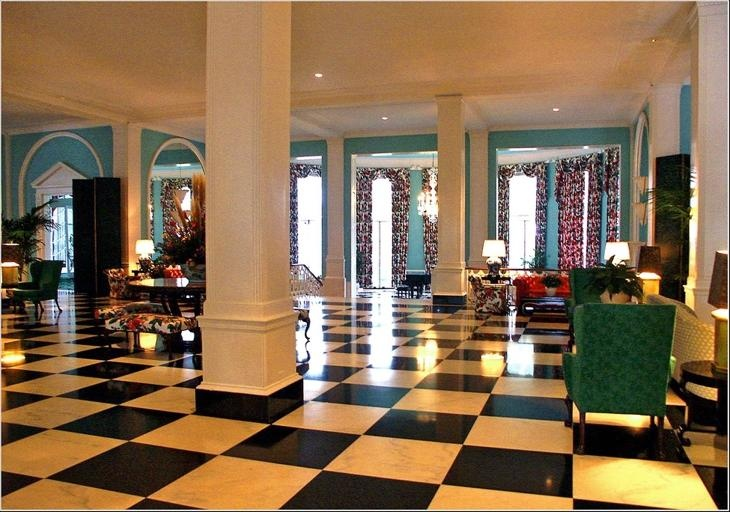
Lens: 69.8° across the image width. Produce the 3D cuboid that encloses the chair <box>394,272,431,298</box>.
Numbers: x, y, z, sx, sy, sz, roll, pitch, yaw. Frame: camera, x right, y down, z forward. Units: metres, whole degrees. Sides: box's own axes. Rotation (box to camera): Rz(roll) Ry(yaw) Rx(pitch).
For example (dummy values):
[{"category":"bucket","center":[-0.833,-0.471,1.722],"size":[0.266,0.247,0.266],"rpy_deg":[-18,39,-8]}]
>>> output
[{"category":"chair","center":[1.698,0.984,17.825],"size":[0.949,0.780,1.368],"rpy_deg":[3,3,15]}]

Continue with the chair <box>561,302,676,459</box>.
[{"category":"chair","center":[2.529,1.180,4.686],"size":[0.885,1.266,1.058],"rpy_deg":[27,-22,-31]}]

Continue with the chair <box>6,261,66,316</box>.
[{"category":"chair","center":[-7.037,0.646,11.198],"size":[1.014,1.097,0.701],"rpy_deg":[2,7,25]}]

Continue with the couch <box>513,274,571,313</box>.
[{"category":"couch","center":[4.043,0.789,11.547],"size":[1.380,0.617,0.677],"rpy_deg":[3,13,22]}]

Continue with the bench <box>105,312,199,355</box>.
[{"category":"bench","center":[-3.102,1.130,7.629],"size":[0.932,0.320,0.748],"rpy_deg":[2,6,7]}]

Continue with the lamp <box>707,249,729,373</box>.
[{"category":"lamp","center":[2.996,0.461,4.406],"size":[0.149,1.006,0.562],"rpy_deg":[3,8,31]}]

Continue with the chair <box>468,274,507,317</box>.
[{"category":"chair","center":[2.667,0.861,11.140],"size":[0.913,0.703,0.718],"rpy_deg":[-1,0,8]}]

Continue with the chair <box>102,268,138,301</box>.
[{"category":"chair","center":[-5.885,0.682,12.604],"size":[0.838,0.695,0.775],"rpy_deg":[-5,10,-29]}]

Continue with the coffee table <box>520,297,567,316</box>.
[{"category":"coffee table","center":[3.726,1.036,10.997],"size":[0.953,0.448,1.093],"rpy_deg":[1,6,15]}]

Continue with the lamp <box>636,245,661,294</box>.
[{"category":"lamp","center":[5.039,0.311,9.435],"size":[0.513,0.955,0.383],"rpy_deg":[1,1,-8]}]

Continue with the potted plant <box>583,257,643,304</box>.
[{"category":"potted plant","center":[3.324,0.297,6.858],"size":[0.827,0.470,0.739],"rpy_deg":[1,0,-6]}]

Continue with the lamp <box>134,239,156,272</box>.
[{"category":"lamp","center":[-5.796,-0.026,13.843],"size":[0.438,0.786,1.535],"rpy_deg":[-3,7,-23]}]

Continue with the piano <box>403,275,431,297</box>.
[{"category":"piano","center":[1.772,1.013,17.845],"size":[0.936,0.876,1.002],"rpy_deg":[0,6,3]}]

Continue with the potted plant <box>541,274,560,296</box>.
[{"category":"potted plant","center":[4.136,0.639,11.463],"size":[0.496,0.399,0.449],"rpy_deg":[-2,4,-20]}]
